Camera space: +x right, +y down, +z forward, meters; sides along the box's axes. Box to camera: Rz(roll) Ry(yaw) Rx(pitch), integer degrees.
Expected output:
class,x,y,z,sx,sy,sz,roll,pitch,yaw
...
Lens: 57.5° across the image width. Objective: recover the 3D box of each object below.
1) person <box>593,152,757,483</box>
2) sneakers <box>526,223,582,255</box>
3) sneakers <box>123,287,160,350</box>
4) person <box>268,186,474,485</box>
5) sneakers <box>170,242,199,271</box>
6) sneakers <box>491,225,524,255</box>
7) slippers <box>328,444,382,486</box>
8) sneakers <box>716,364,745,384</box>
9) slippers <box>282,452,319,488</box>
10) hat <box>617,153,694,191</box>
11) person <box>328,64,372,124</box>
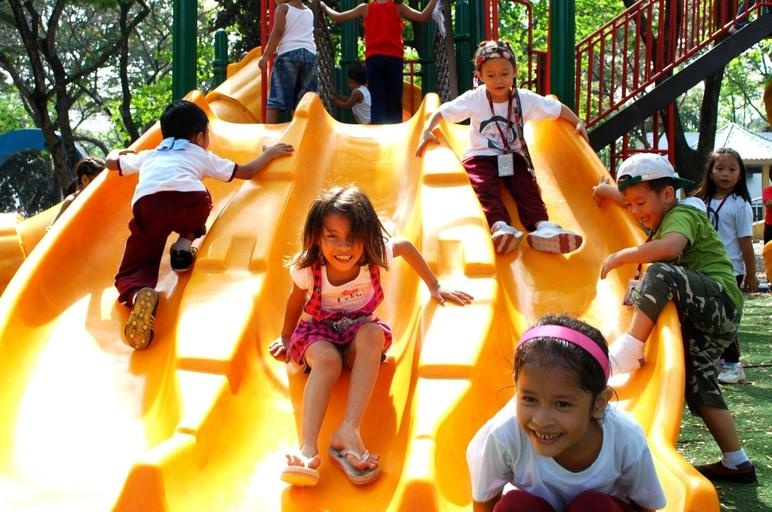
class,x,y,z,sx,sy,sz,roll,pitch,yaw
person,1.999,0.393,5.040,1.003,2.239,1.042,13,-20,-7
sneakers,1.312,-0.153,5.595,0.480,0.197,0.207,7,-15,36
sneakers,-1.720,0.422,4.959,0.195,0.442,0.128,7,-20,-3
person,-0.268,0.350,4.496,1.182,0.906,1.742,0,24,3
sneakers,-1.546,0.005,5.398,0.125,0.162,0.361,0,10,4
sneakers,0.954,-0.178,5.581,0.151,0.139,0.311,0,-39,-15
slippers,-0.189,1.222,4.175,0.254,0.088,0.175,25,29,32
sneakers,3.004,1.048,6.091,0.182,0.201,0.438,-6,-12,35
slippers,-0.496,1.231,4.063,0.132,0.148,0.235,3,-30,-3
hat,1.900,-0.576,4.894,0.418,0.224,0.315,4,-8,-7
person,-0.517,-2.382,10.521,0.612,1.091,0.465,10,39,-1
